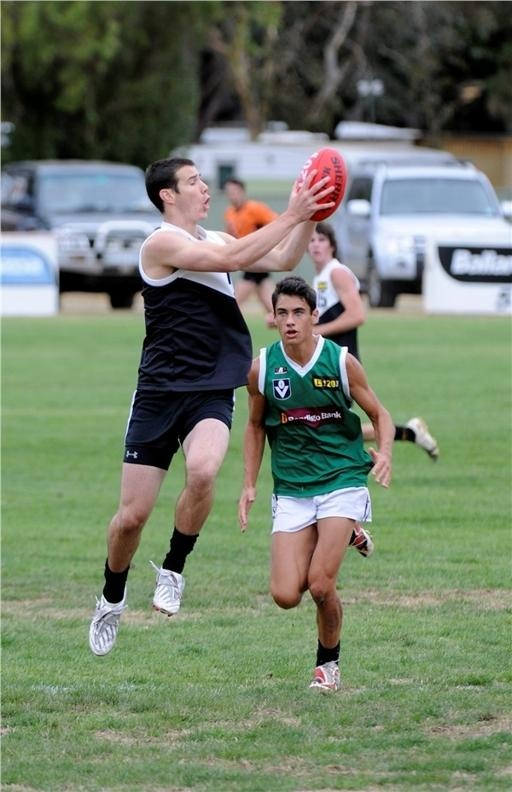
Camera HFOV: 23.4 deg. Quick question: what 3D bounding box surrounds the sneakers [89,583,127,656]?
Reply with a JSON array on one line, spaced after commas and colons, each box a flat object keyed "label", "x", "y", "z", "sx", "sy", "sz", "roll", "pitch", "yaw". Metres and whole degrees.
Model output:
[{"label": "sneakers", "x": -0.587, "y": 0.888, "z": 4.908, "sx": 0.108, "sy": 0.265, "sz": 0.109, "roll": 11, "pitch": -3, "yaw": -14}]

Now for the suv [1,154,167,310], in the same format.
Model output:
[{"label": "suv", "x": -2.606, "y": -2.545, "z": 18.521, "sx": 1.950, "sy": 1.632, "sz": 3.161, "roll": -1, "pitch": 2, "yaw": -17}]

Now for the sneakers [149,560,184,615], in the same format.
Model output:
[{"label": "sneakers", "x": -0.339, "y": 0.764, "z": 4.885, "sx": 0.098, "sy": 0.111, "sz": 0.263, "roll": 26, "pitch": 1, "yaw": -10}]

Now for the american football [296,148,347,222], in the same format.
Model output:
[{"label": "american football", "x": 0.248, "y": -0.805, "z": 4.722, "sx": 0.179, "sy": 0.271, "sz": 0.183, "roll": 1, "pitch": -1, "yaw": 5}]

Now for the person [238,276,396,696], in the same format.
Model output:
[{"label": "person", "x": 0.221, "y": 0.437, "z": 4.675, "sx": 0.586, "sy": 1.332, "sz": 0.503, "roll": -1, "pitch": 9, "yaw": 4}]

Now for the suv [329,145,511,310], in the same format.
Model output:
[{"label": "suv", "x": 1.930, "y": -2.193, "z": 15.911, "sx": 1.683, "sy": 1.467, "sz": 3.040, "roll": -1, "pitch": 7, "yaw": -9}]
